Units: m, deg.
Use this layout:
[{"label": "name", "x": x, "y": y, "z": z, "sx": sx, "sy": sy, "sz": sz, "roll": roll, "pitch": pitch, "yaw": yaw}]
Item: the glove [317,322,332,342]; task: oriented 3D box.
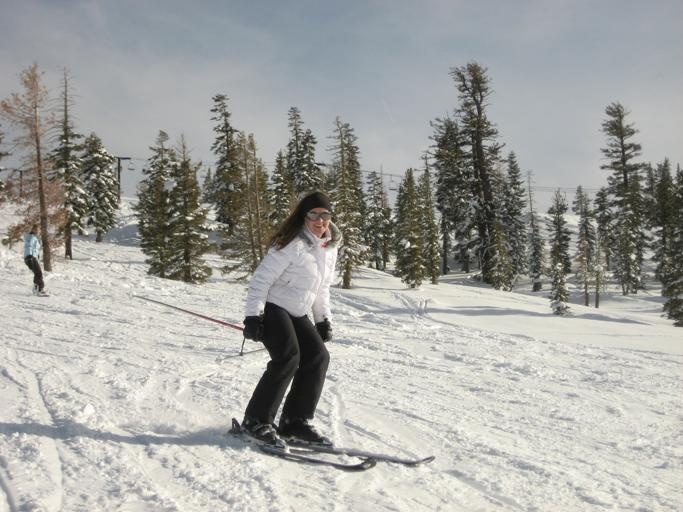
[{"label": "glove", "x": -0.335, "y": 1.211, "z": 10.866, "sx": 0.213, "sy": 0.316, "sz": 0.316, "roll": -11, "pitch": -9, "yaw": -9}]

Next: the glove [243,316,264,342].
[{"label": "glove", "x": -1.287, "y": 1.092, "z": 10.245, "sx": 0.273, "sy": 0.362, "sz": 0.386, "roll": 0, "pitch": 1, "yaw": -3}]

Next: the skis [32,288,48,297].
[{"label": "skis", "x": -8.417, "y": 1.025, "z": 19.120, "sx": 0.432, "sy": 0.292, "sz": 0.159, "roll": 2, "pitch": 13, "yaw": -14}]
